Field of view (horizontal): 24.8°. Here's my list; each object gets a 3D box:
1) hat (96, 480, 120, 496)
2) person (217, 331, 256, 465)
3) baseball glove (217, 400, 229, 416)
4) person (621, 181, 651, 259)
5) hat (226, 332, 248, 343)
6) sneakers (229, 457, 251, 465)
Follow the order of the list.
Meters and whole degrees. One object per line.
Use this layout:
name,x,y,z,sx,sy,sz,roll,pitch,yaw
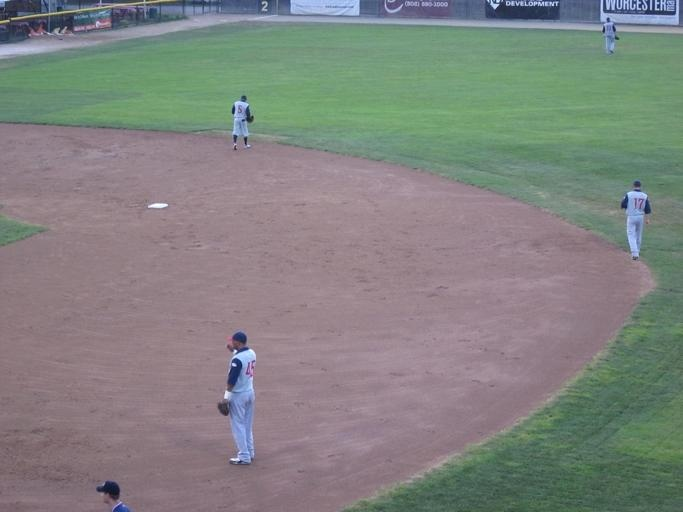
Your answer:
hat,-5.676,5.623,37.992,0.579,0.254,0.352,13,14,7
person,-2.627,3.685,40.322,0.770,3.351,0.782,3,17,13
baseball glove,-3.011,3.905,40.253,0.273,0.397,0.272,-2,16,-6
person,8.975,-1.048,47.429,0.726,2.317,0.725,-13,21,-36
hat,-2.625,2.112,40.333,0.383,0.295,0.399,-3,15,-8
sneakers,-2.635,5.310,40.573,0.565,0.197,0.191,8,10,4
